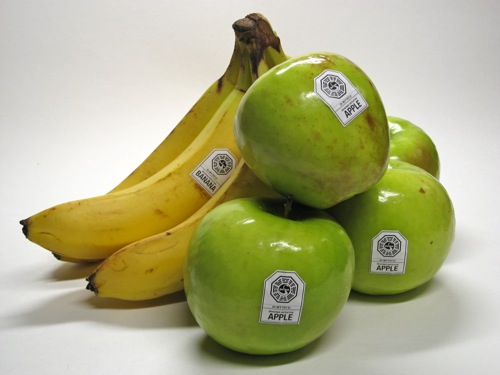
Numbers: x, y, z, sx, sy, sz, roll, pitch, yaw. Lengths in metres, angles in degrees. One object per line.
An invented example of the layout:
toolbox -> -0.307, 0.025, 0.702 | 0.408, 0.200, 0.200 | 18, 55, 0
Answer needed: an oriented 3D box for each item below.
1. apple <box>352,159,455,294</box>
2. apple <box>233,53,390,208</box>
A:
apple -> 0.429, 0.110, 1.462 | 0.361, 0.390, 0.387 | 0, 14, 17
apple -> 0.185, -0.143, 1.284 | 0.405, 0.415, 0.379 | 1, -13, -44
